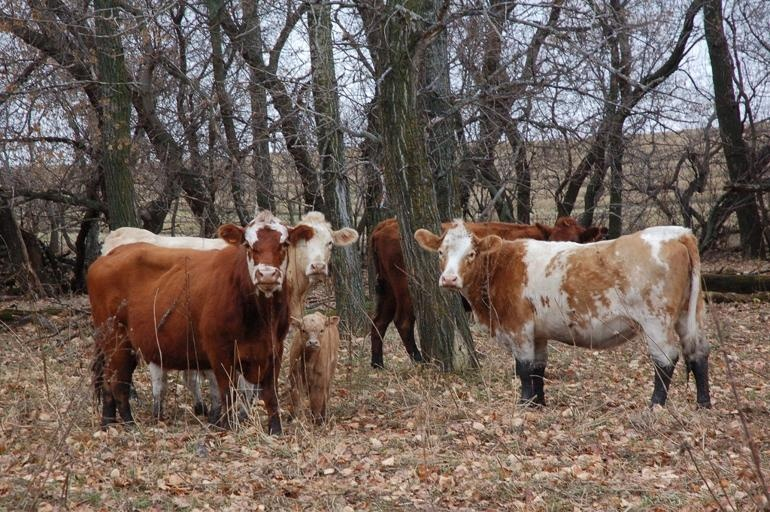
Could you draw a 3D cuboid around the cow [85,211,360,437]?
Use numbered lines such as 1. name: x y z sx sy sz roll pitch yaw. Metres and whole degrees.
1. cow: -2.886 0.998 12.264 3.741 3.470 1.955 -1 6 4
